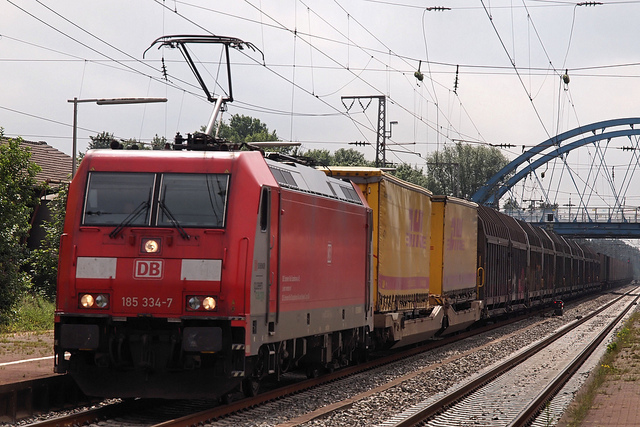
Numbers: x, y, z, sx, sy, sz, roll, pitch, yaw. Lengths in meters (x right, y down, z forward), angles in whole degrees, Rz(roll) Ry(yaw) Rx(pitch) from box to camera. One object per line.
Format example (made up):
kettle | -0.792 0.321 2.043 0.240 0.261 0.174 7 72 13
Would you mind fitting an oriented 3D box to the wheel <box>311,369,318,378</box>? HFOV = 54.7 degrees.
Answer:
wheel | -0.121 4.217 16.160 0.156 0.160 0.037 -5 1 -33
